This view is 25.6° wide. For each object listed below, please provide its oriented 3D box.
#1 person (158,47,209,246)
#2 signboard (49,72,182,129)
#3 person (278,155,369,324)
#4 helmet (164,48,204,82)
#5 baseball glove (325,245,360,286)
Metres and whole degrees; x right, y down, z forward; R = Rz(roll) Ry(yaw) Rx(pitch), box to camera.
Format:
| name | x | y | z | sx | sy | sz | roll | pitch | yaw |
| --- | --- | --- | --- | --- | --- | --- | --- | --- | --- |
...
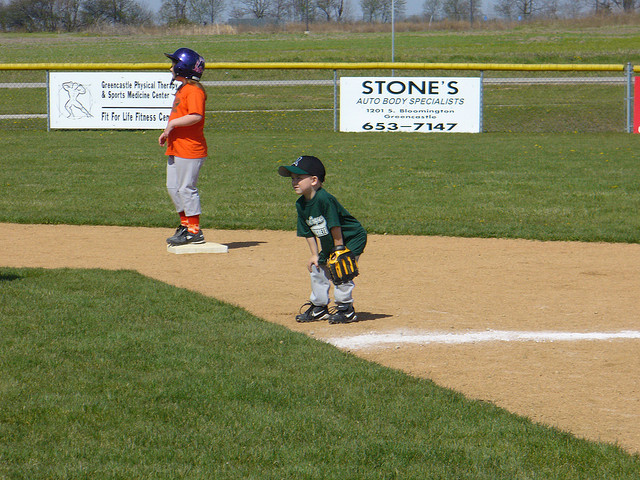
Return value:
| name | x | y | z | sx | sy | sz | roll | pitch | yaw |
| --- | --- | --- | --- | --- | --- | --- | --- | --- | --- |
| person | -2.022 | -1.360 | 20.723 | 0.663 | 2.858 | 0.396 | -1 | 8 | -5 |
| signboard | -4.345 | -3.054 | 30.650 | 0.114 | 1.379 | 3.891 | 8 | 10 | 41 |
| person | 0.072 | 0.002 | 18.550 | 1.026 | 2.198 | 0.336 | 0 | 8 | -2 |
| helmet | -2.023 | -2.573 | 20.715 | 0.704 | 0.456 | 0.471 | 5 | 6 | -19 |
| baseball glove | 0.229 | 0.267 | 18.596 | 0.372 | 0.414 | 0.430 | 7 | 13 | 26 |
